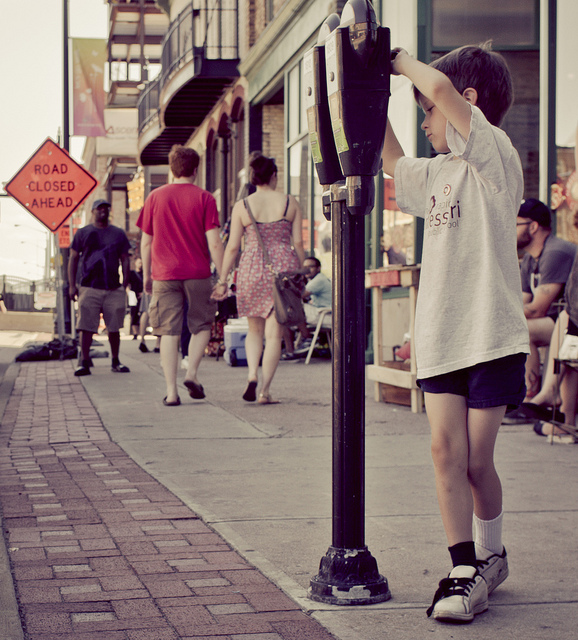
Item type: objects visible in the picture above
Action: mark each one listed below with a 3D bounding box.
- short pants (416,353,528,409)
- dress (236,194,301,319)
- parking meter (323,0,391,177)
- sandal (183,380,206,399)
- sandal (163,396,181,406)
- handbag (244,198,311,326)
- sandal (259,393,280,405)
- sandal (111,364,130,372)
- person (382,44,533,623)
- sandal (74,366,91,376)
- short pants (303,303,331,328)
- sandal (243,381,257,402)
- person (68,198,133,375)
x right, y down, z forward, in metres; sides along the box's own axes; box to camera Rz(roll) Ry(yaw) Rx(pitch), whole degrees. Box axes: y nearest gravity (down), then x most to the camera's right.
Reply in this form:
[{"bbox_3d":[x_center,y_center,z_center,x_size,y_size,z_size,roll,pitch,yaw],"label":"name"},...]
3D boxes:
[{"bbox_3d":[0.571,0.204,3.787,0.338,0.184,0.158,1,3,9],"label":"short pants"},{"bbox_3d":[-0.164,-0.496,8.269,0.351,0.965,0.348,-3,7,-22],"label":"dress"},{"bbox_3d":[0.205,-0.718,3.726,0.210,0.547,0.226,1,3,2],"label":"parking meter"},{"bbox_3d":[-0.691,0.545,8.701,0.080,0.225,0.090,-23,32,13],"label":"sandal"},{"bbox_3d":[-0.826,0.607,8.423,0.123,0.067,0.183,0,4,-7],"label":"sandal"},{"bbox_3d":[-0.173,-0.390,8.159,0.196,0.974,0.234,-9,0,-6],"label":"handbag"},{"bbox_3d":[-0.154,0.604,8.446,0.048,0.080,0.162,1,1,30],"label":"sandal"},{"bbox_3d":[-1.649,0.521,11.611,0.156,0.083,0.060,-2,-1,39],"label":"sandal"},{"bbox_3d":[0.528,0.056,3.806,0.432,1.801,0.441,1,3,9],"label":"person"},{"bbox_3d":[-1.940,0.542,11.252,0.158,0.086,0.059,3,1,-24],"label":"sandal"},{"bbox_3d":[0.292,-0.055,12.380,0.222,0.339,0.233,15,1,-18],"label":"short pants"},{"bbox_3d":[-0.285,0.551,8.489,0.090,0.166,0.137,0,3,-7],"label":"sandal"},{"bbox_3d":[-1.811,-0.278,11.452,0.555,1.712,0.673,0,3,-11],"label":"person"}]
